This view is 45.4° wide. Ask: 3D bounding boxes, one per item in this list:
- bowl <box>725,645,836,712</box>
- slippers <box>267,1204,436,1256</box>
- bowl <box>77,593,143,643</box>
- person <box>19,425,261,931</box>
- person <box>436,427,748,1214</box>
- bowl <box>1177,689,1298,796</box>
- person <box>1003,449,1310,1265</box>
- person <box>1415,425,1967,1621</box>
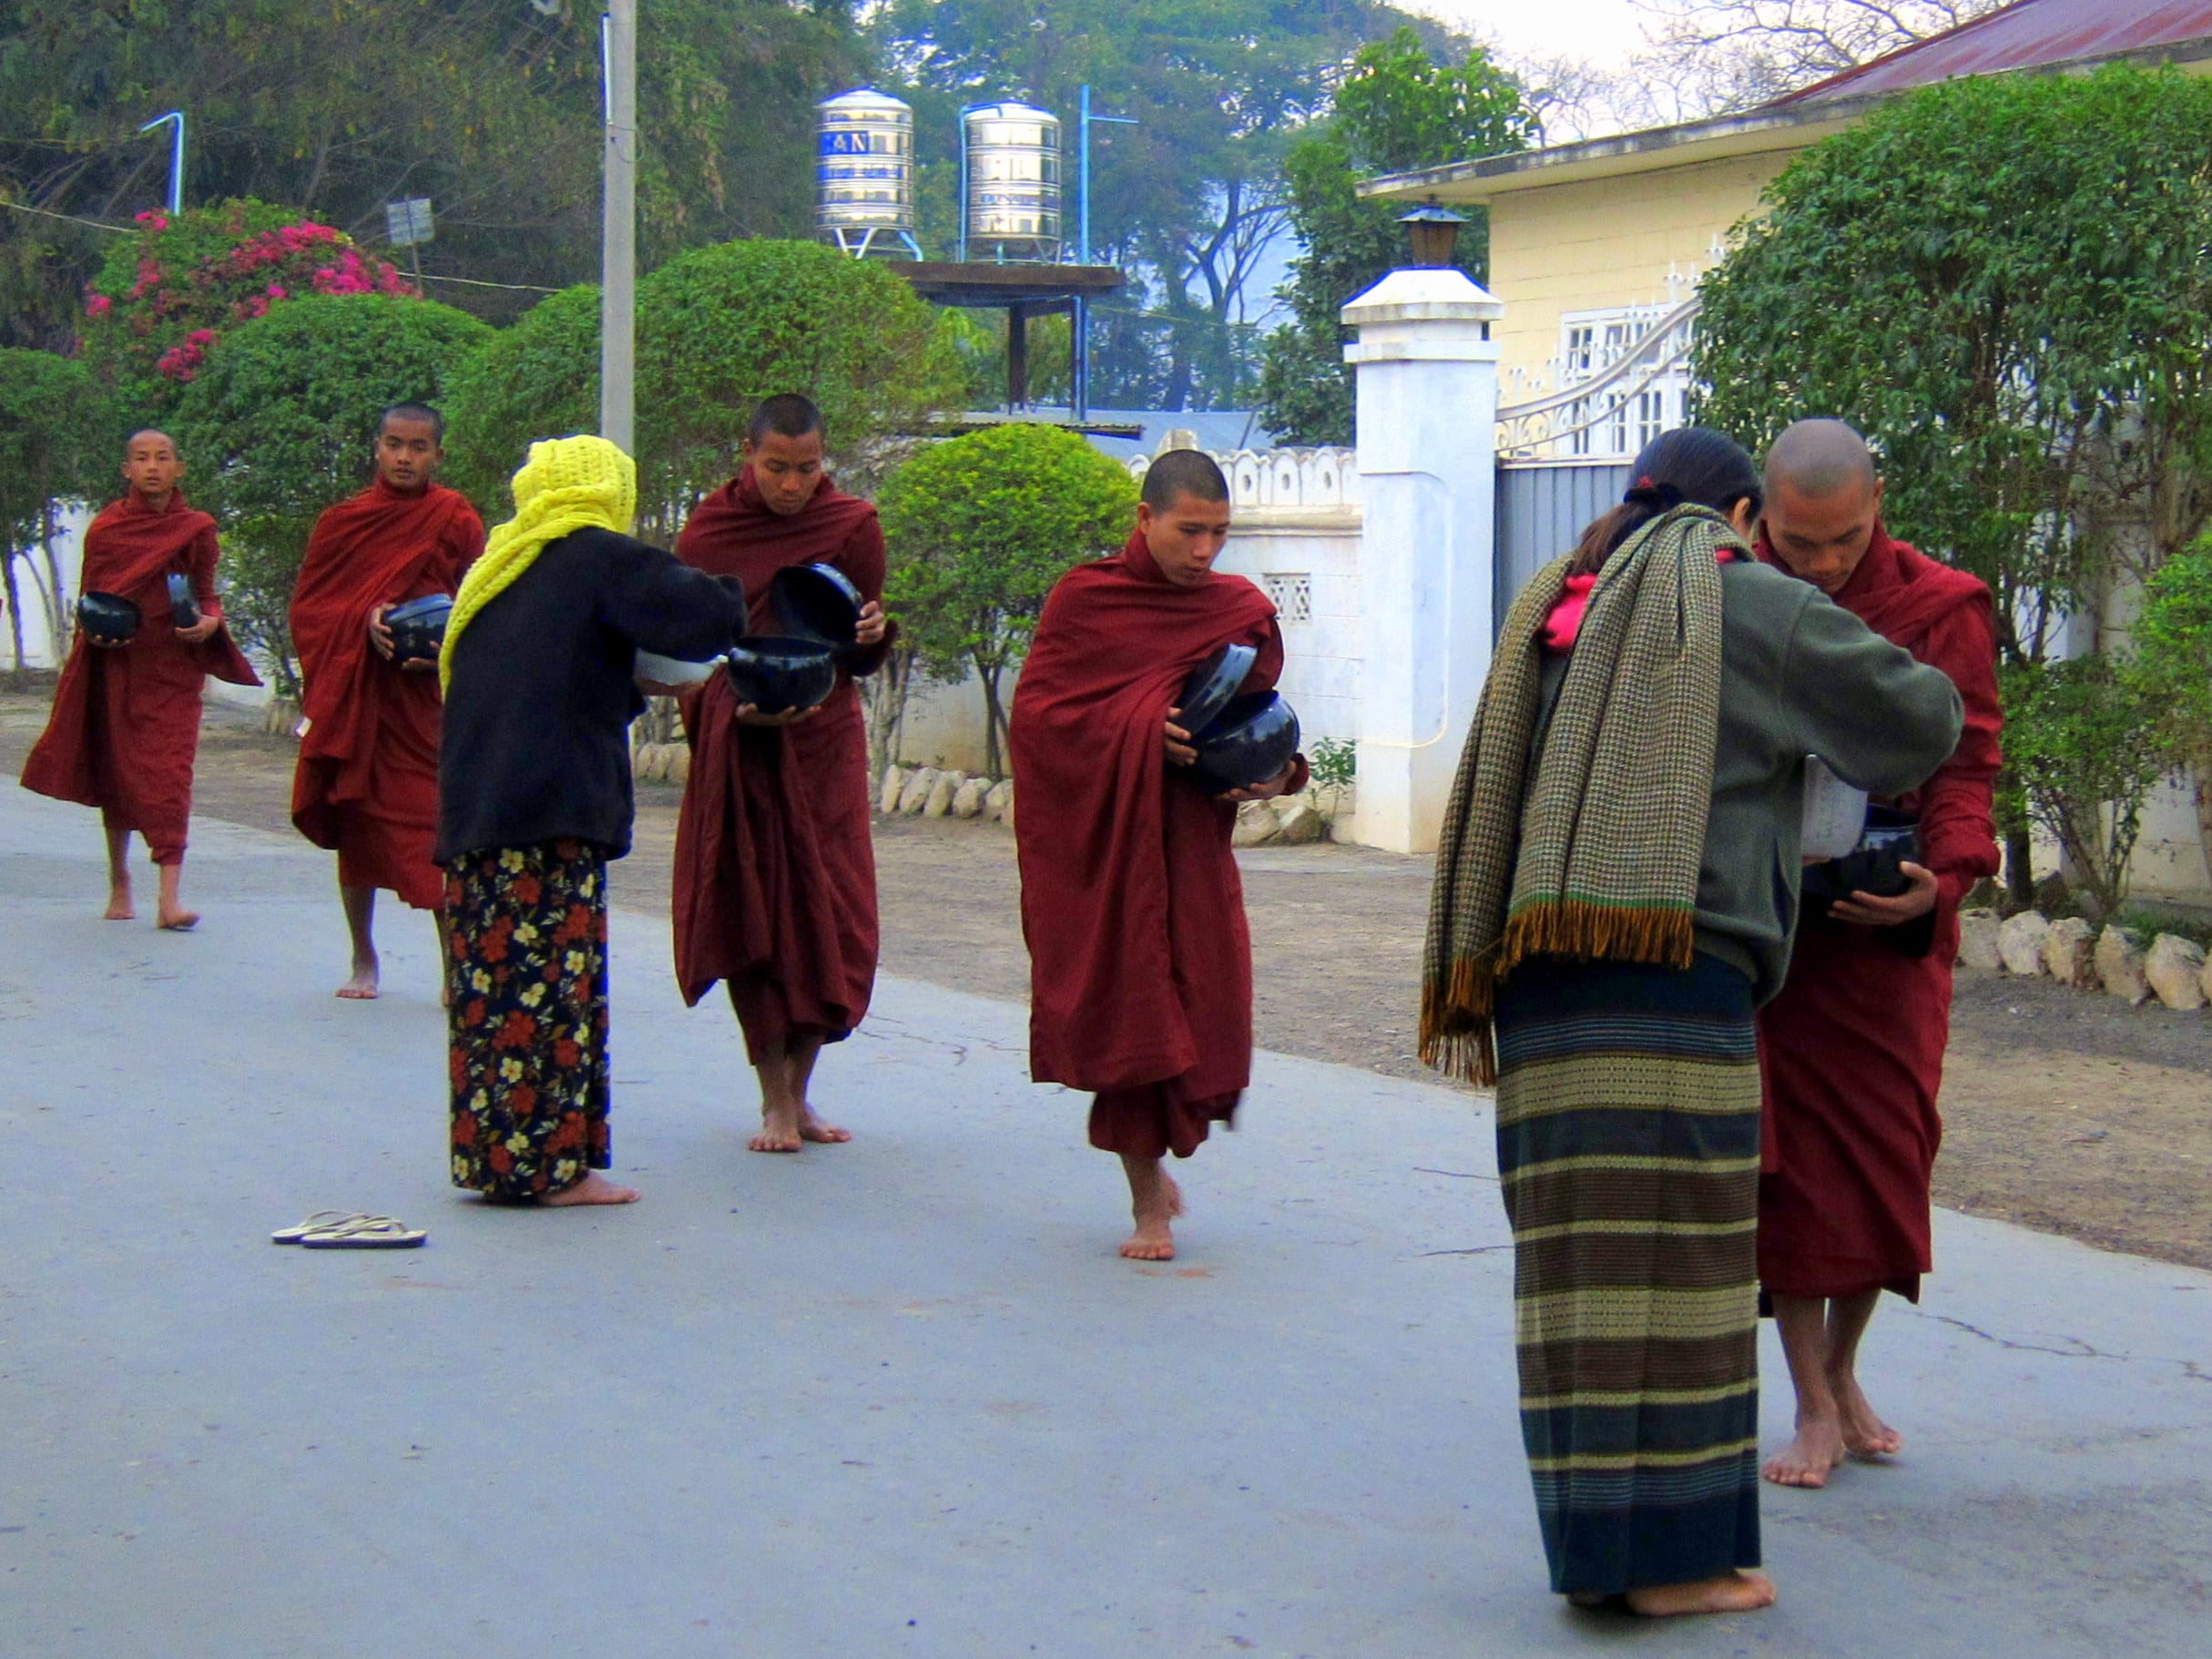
[{"bbox_3d":[-0.927,-0.456,7.626,0.219,0.139,0.227,-1,11,0],"label":"bowl"},{"bbox_3d":[-1.946,1.035,6.866,0.385,0.041,0.329,-1,8,-15],"label":"slippers"},{"bbox_3d":[-4.315,-0.915,11.548,0.245,0.225,0.197,-1,8,-18],"label":"bowl"},{"bbox_3d":[-4.273,-0.674,11.815,0.902,2.191,1.218,-2,8,-21],"label":"person"},{"bbox_3d":[-1.425,-0.011,7.178,0.701,2.081,0.398,-1,8,-15],"label":"person"},{"bbox_3d":[0.307,-0.217,6.910,0.398,0.283,0.411,-5,13,1],"label":"bowl"},{"bbox_3d":[0.104,0.031,6.873,0.732,1.591,0.532,3,8,16],"label":"person"},{"bbox_3d":[1.057,0.404,5.085,0.830,2.038,0.734,-1,8,-12],"label":"person"}]
